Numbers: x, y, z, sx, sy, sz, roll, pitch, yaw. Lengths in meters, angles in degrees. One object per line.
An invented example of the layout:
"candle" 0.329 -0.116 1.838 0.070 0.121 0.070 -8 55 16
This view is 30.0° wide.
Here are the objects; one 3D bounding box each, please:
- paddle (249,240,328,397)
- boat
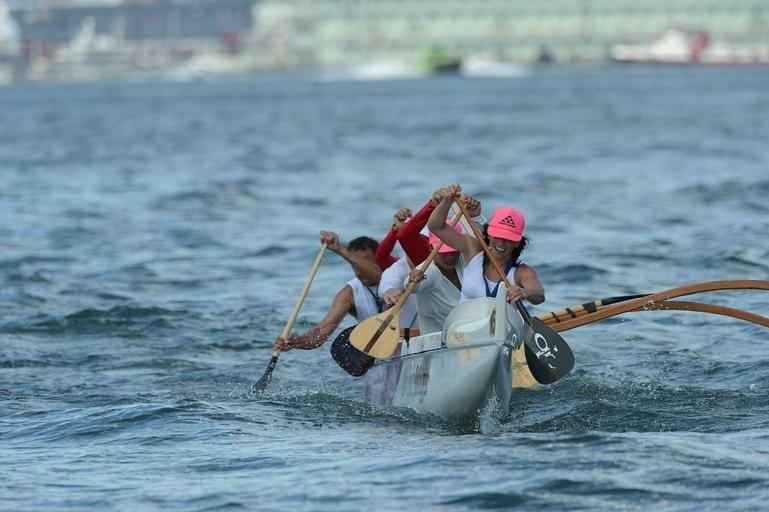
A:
"paddle" -2.425 1.727 36.372 0.523 6.064 0.909 -17 -49 43
"boat" 1.694 2.255 34.293 2.748 3.293 0.679 8 16 12
